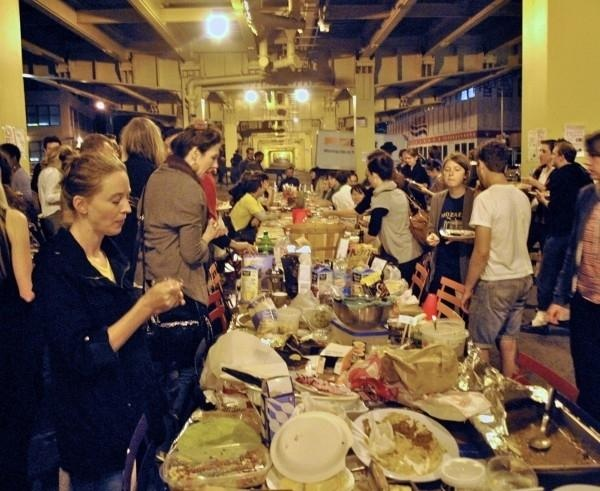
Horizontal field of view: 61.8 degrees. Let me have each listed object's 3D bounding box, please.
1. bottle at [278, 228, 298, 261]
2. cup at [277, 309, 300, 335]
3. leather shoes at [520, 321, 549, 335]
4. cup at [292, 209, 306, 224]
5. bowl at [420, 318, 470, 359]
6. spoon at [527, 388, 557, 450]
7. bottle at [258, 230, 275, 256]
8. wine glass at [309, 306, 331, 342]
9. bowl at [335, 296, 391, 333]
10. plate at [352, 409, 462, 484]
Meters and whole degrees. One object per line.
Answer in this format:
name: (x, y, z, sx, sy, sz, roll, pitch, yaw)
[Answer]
bottle: (-0.096, -0.008, 3.776, 0.184, 0.168, 0.210, 1, -8, 2)
cup: (-0.062, 0.371, 2.482, 0.093, 0.092, 0.106, 1, -3, 1)
leather shoes: (2.468, 0.865, 5.288, 0.300, 0.117, 0.123, -3, -3, 31)
cup: (-0.015, -0.339, 5.764, 0.176, 0.224, 0.192, -1, -2, 0)
bowl: (0.640, 0.387, 2.225, 0.173, 0.110, 0.180, -2, 1, 0)
spoon: (0.889, 0.663, 1.837, 0.076, 0.067, 0.307, 7, 41, 26)
bottle: (-0.284, -0.018, 4.060, 0.173, 0.193, 0.177, 1, 0, -3)
wine glass: (0.095, 0.391, 2.559, 0.128, 0.199, 0.133, 0, -4, -5)
bowl: (0.276, 0.337, 2.458, 0.248, 0.149, 0.260, 0, 3, 0)
plate: (0.356, 0.659, 1.705, 0.359, 0.114, 0.365, 7, 13, 20)
